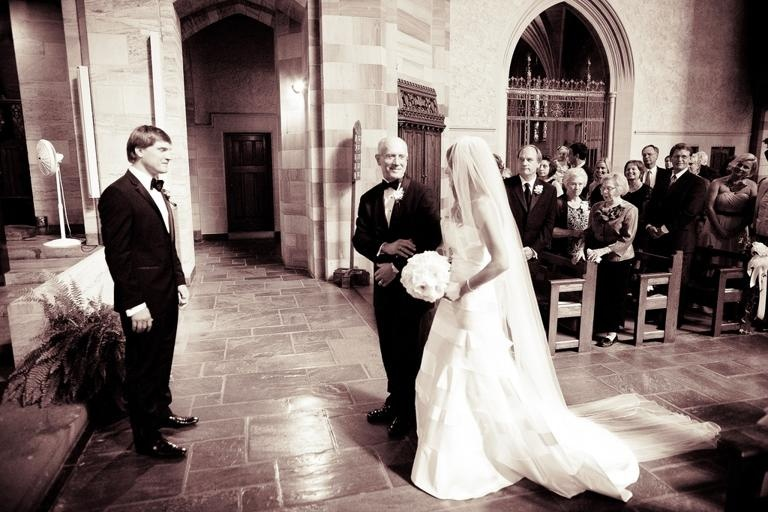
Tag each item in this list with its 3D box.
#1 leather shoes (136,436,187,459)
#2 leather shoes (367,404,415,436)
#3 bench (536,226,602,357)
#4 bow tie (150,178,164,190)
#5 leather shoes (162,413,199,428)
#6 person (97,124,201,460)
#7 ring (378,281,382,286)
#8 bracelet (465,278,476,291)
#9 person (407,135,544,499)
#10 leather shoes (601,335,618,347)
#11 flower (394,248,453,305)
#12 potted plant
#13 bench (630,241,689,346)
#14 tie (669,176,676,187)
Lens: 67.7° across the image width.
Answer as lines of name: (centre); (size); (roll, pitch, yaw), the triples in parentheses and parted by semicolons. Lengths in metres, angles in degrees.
leather shoes: (-1.904, 1.664, 4.986); (0.469, 0.184, 0.172); (2, -3, 0)
leather shoes: (0.055, 1.515, 5.229); (0.538, 0.225, 0.182); (14, 11, 43)
bench: (2.115, 0.450, 6.537); (0.553, 0.945, 1.546); (1, -1, -3)
bow tie: (-1.915, -0.614, 4.815); (0.035, 0.113, 0.084); (2, -11, 22)
leather shoes: (-1.870, 1.510, 5.248); (0.349, 0.133, 0.115); (-2, 10, -14)
person: (-2.034, 0.330, 4.807); (0.530, 2.791, 0.506); (-2, 12, -13)
ring: (-0.032, 0.246, 5.048); (0.018, 0.031, 0.037); (-7, -4, 28)
bracelet: (0.683, 0.228, 4.581); (0.080, 0.107, 0.031); (4, 12, 14)
person: (0.800, 0.471, 4.675); (1.111, 2.828, 0.907); (1, 12, 1)
leather shoes: (2.593, 0.987, 6.625); (0.250, 0.096, 0.092); (0, -3, -38)
flower: (0.341, 0.184, 4.567); (0.393, 0.387, 0.242); (-13, -11, 12)
potted plant: (-3.063, 0.889, 5.293); (1.227, 1.203, 0.822); (-9, -3, -7)
bench: (3.313, 0.495, 6.878); (0.492, 0.957, 1.235); (2, 1, 21)
tie: (3.825, -1.012, 7.604); (0.024, 0.100, 0.081); (18, 4, 12)
